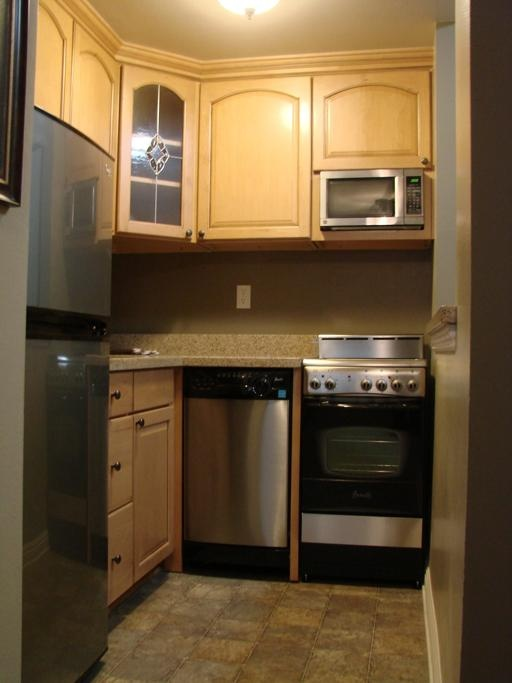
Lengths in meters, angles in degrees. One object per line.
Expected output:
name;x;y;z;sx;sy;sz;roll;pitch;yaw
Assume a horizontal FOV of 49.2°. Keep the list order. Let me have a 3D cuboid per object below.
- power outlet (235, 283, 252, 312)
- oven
power outlet;-0.065;-0.233;2.902;0.082;0.131;0.010;0;-3;12
oven;0.437;0.468;2.439;0.461;0.967;0.589;0;-5;10
